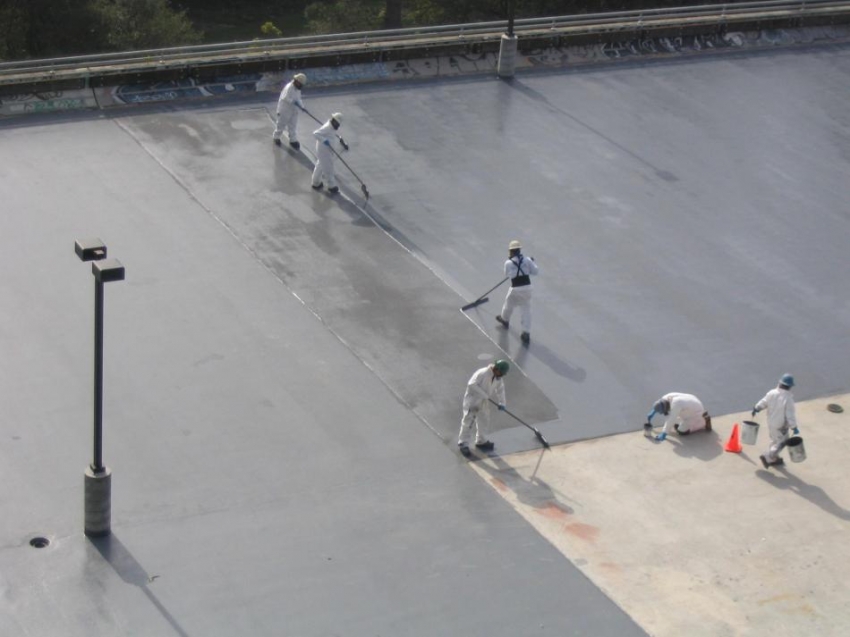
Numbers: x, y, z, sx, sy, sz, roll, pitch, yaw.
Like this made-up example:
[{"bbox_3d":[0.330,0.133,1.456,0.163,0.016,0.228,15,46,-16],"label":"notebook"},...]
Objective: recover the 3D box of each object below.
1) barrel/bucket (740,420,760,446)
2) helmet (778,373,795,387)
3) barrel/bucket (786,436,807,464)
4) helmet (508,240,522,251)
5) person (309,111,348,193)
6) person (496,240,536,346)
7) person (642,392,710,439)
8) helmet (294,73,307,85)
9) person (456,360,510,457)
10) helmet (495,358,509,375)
[{"bbox_3d":[6.249,2.151,33.273,0.452,0.367,0.399,8,10,25],"label":"barrel/bucket"},{"bbox_3d":[6.912,1.150,32.947,0.244,0.184,0.339,14,32,30],"label":"helmet"},{"bbox_3d":[7.045,2.472,32.836,0.320,0.452,0.309,-16,40,14],"label":"barrel/bucket"},{"bbox_3d":[1.829,-1.517,35.061,0.240,0.136,0.300,-3,3,-10],"label":"helmet"},{"bbox_3d":[-2.178,-3.732,39.233,0.967,2.053,0.789,2,59,-9],"label":"person"},{"bbox_3d":[1.955,-0.585,35.231,0.626,1.993,1.057,-12,32,-22],"label":"person"},{"bbox_3d":[4.912,1.842,33.759,1.263,0.767,0.732,-13,18,-10],"label":"person"},{"bbox_3d":[-2.852,-5.516,39.666,0.161,0.279,0.432,23,-16,-34],"label":"helmet"},{"bbox_3d":[1.078,1.566,32.753,0.919,1.857,0.835,-3,29,-7],"label":"person"},{"bbox_3d":[1.459,0.874,32.407,0.226,0.201,0.274,12,20,-45],"label":"helmet"}]
